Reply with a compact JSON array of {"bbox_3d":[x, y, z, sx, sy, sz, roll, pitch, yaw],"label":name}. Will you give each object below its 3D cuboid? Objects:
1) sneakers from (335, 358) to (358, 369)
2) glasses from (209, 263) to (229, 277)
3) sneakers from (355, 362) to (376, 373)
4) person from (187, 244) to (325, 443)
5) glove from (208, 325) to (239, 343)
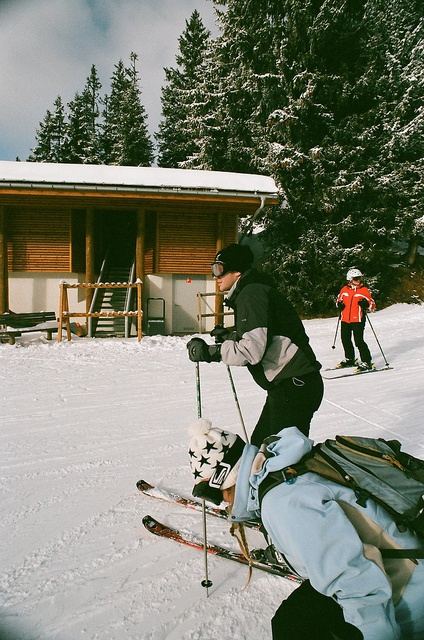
[{"bbox_3d":[2.074,0.669,8.245,0.398,0.171,0.131,0,2,-9],"label":"sneakers"},{"bbox_3d":[0.035,-0.296,3.137,0.083,0.045,0.064,0,-6,-13],"label":"glasses"},{"bbox_3d":[2.284,0.699,7.980,0.390,0.170,0.133,-3,3,-9],"label":"sneakers"},{"bbox_3d":[0.288,0.098,2.993,0.598,0.830,0.422,-2,1,15],"label":"person"},{"bbox_3d":[0.074,0.087,3.560,0.163,0.076,0.120,3,-6,2],"label":"glove"}]
